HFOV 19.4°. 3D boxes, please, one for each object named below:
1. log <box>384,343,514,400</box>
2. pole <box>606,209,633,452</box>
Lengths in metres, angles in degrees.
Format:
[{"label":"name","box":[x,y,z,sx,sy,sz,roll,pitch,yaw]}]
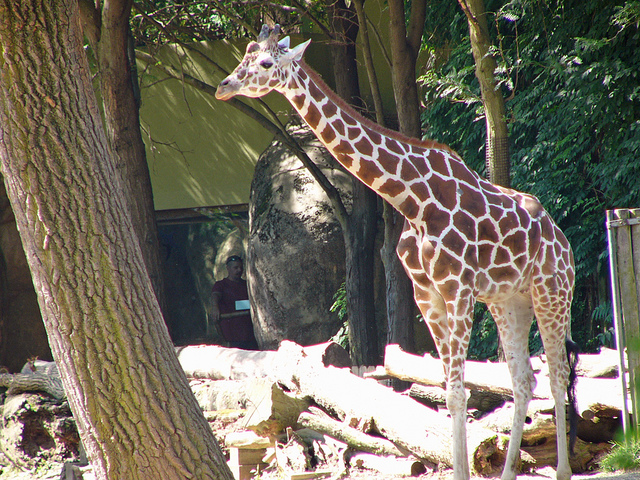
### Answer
[{"label":"log","box":[1.770,1.779,25.421,1.366,0.563,1.599,-5,1,-26]},{"label":"pole","box":[3.941,1.170,24.595,0.234,2.897,0.370,3,3,29]}]
